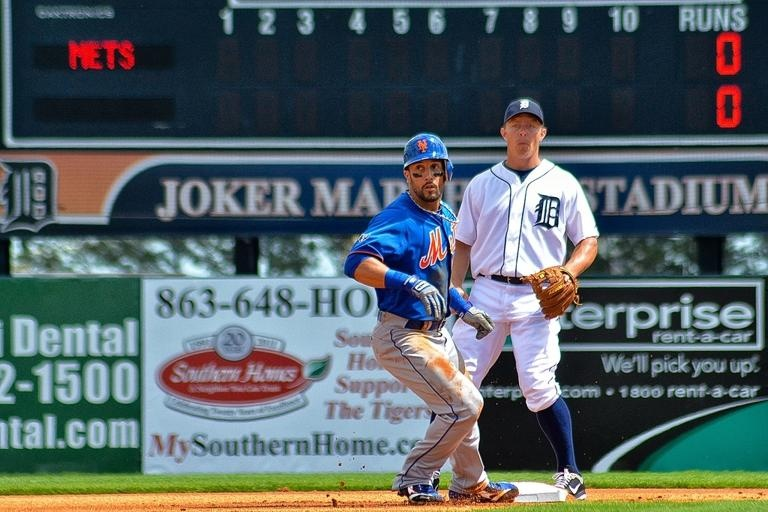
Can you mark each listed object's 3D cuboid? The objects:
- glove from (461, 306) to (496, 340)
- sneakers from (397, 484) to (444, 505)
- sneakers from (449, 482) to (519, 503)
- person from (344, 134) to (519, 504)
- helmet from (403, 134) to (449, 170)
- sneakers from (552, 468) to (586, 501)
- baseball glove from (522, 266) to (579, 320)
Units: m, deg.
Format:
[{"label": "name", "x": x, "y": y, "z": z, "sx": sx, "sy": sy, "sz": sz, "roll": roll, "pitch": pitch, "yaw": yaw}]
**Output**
[{"label": "glove", "x": 0.779, "y": 0.524, "z": 15.576, "sx": 0.239, "sy": 0.108, "sz": 0.242, "roll": 24, "pitch": -26, "yaw": 47}, {"label": "sneakers", "x": 0.308, "y": 1.892, "z": 15.551, "sx": 0.406, "sy": 0.187, "sz": 0.149, "roll": 1, "pitch": -3, "yaw": 0}, {"label": "sneakers", "x": 0.854, "y": 1.899, "z": 15.819, "sx": 0.579, "sy": 0.244, "sz": 0.202, "roll": -4, "pitch": -1, "yaw": -5}, {"label": "person", "x": 0.329, "y": 0.500, "z": 15.530, "sx": 1.240, "sy": 2.925, "sz": 0.673, "roll": 3, "pitch": -8, "yaw": -40}, {"label": "helmet", "x": 0.336, "y": -0.836, "z": 15.617, "sx": 0.386, "sy": 0.246, "sz": 0.493, "roll": -12, "pitch": -8, "yaw": 3}, {"label": "sneakers", "x": 1.584, "y": 1.873, "z": 15.942, "sx": 0.351, "sy": 0.153, "sz": 0.143, "roll": 17, "pitch": -16, "yaw": -25}, {"label": "baseball glove", "x": 1.380, "y": 0.287, "z": 15.734, "sx": 0.406, "sy": 0.410, "sz": 0.187, "roll": -2, "pitch": -6, "yaw": 3}]
